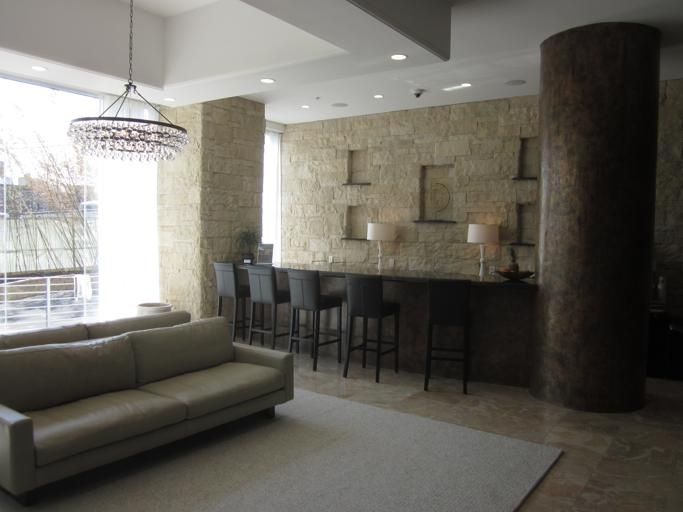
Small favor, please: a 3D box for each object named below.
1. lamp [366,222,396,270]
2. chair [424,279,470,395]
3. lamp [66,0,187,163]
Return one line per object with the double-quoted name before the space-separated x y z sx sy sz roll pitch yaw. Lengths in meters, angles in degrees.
"lamp" 0.655 -0.098 8.411 0.487 0.759 0.481 2 -10 -3
"chair" 1.116 0.784 5.373 0.450 1.168 0.521 3 9 14
"lamp" -2.037 -1.862 5.145 0.981 1.855 2.003 -2 9 -14
